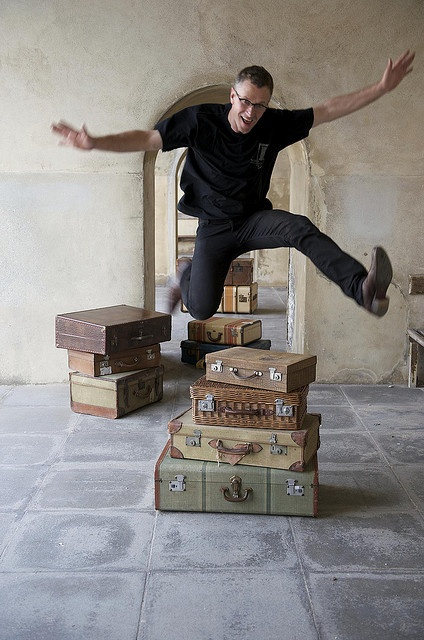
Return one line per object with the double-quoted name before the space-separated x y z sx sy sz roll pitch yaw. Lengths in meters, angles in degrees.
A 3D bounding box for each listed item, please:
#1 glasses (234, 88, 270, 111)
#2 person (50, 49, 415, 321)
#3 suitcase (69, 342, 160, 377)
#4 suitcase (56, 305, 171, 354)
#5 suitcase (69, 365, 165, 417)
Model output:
"glasses" 0.199 -1.112 3.038 0.147 0.085 0.073 0 8 2
"person" 0.210 -0.670 3.243 1.471 1.511 1.147 3 8 22
"suitcase" -0.900 0.342 5.122 0.349 0.131 0.437 7 7 42
"suitcase" -0.856 0.086 5.313 0.767 0.278 0.832 11 15 34
"suitcase" -0.804 0.597 5.207 0.511 0.309 0.666 3 8 25
